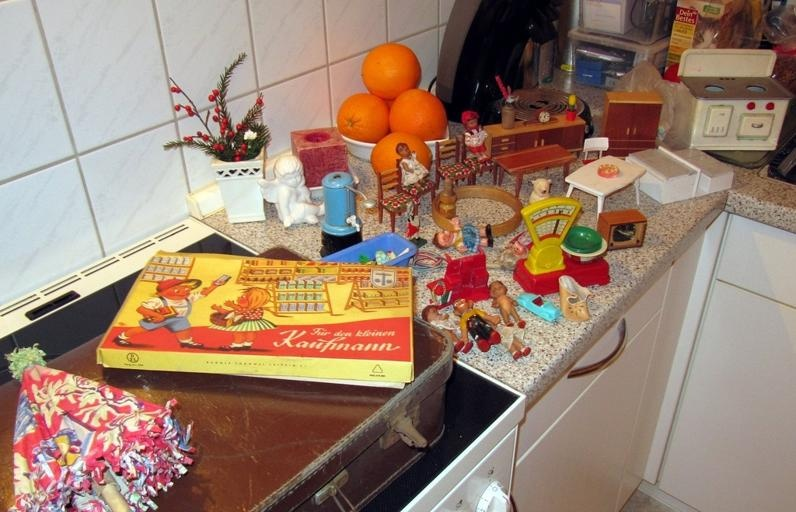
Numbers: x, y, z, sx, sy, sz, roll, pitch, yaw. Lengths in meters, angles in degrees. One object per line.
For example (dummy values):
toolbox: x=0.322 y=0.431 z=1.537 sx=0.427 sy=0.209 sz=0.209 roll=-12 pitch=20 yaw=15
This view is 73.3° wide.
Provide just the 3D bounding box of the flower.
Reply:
flower: x=-0.422 y=-0.341 z=1.371 sx=0.244 sy=0.164 sz=0.277 roll=-5 pitch=39 yaw=16

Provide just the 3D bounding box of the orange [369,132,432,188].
orange: x=0.001 y=-0.237 z=1.379 sx=0.141 sy=0.166 sz=0.147 roll=3 pitch=6 yaw=15

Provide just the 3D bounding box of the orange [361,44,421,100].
orange: x=-0.026 y=-0.523 z=1.586 sx=0.174 sy=0.151 sz=0.156 roll=4 pitch=27 yaw=-28

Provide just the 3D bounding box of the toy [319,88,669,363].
toy: x=0.236 y=-0.210 z=1.164 sx=0.854 sy=0.206 sz=0.558 roll=-11 pitch=55 yaw=-1

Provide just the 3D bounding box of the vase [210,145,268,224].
vase: x=-0.404 y=-0.175 z=1.344 sx=0.135 sy=0.154 sz=0.136 roll=-12 pitch=-23 yaw=32
